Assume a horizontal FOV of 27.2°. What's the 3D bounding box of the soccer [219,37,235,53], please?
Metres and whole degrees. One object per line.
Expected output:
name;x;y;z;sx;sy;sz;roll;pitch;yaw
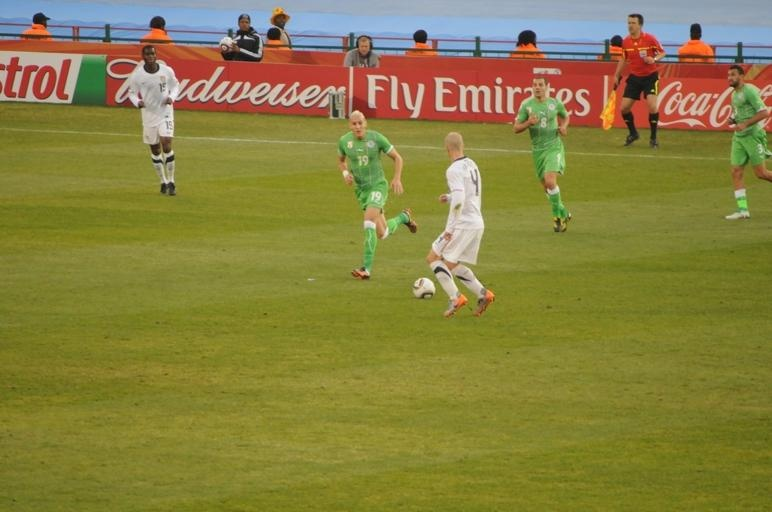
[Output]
soccer;-4.302;-5.634;42.857;0.366;0.345;0.590;0;8;-5

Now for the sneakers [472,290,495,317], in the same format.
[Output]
sneakers;1.553;0.733;25.314;0.276;0.508;0.193;25;26;-10

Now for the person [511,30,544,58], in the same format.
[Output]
person;3.931;-5.932;45.007;0.663;0.709;1.052;-3;9;-27

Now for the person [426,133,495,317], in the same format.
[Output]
person;1.138;-0.476;25.281;1.004;2.875;0.628;1;8;1

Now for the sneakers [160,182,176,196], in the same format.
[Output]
sneakers;-4.362;-1.327;31.709;0.298;0.245;0.373;0;8;-7

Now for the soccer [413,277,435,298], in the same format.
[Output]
soccer;0.597;0.525;25.622;0.372;0.261;0.363;-19;-2;-28

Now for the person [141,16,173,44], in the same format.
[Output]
person;-6.619;-6.427;45.842;0.836;0.731;1.497;0;8;-8

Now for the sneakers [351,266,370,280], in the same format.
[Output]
sneakers;-0.454;0.312;26.659;0.277;0.185;0.193;1;8;-1

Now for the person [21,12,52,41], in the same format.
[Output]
person;-10.220;-6.632;46.506;0.787;0.740;0.904;-1;8;-12

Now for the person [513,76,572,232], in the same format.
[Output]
person;2.876;-1.895;29.730;1.045;2.815;0.969;2;8;6

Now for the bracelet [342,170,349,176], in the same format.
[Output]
bracelet;-0.729;-1.390;27.082;0.115;0.092;0.104;-2;-4;6

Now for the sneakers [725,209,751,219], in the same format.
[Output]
sneakers;6.541;-0.766;30.114;0.513;0.171;0.171;1;7;10

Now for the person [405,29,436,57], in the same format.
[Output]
person;0.945;-6.137;46.430;0.844;0.698;1.496;1;8;0

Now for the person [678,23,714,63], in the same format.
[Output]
person;8.401;-5.568;43.596;1.033;1.435;0.895;3;15;24
